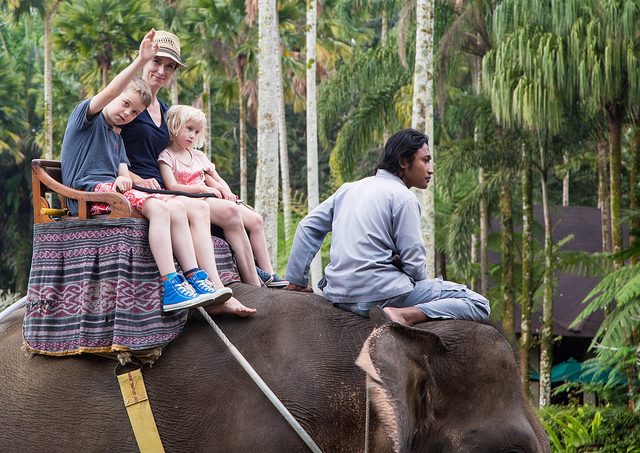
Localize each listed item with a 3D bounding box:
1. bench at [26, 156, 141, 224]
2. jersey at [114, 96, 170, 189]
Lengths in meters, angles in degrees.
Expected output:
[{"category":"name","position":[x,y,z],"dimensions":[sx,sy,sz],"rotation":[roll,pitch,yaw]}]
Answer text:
[{"category":"bench","position":[-2.980,-0.243,12.293],"dimensions":[1.244,1.135,1.033],"rotation":[2,5,7]},{"category":"jersey","position":[-2.251,-1.052,12.308],"dimensions":[0.340,1.255,0.436],"rotation":[-2,4,29]}]
